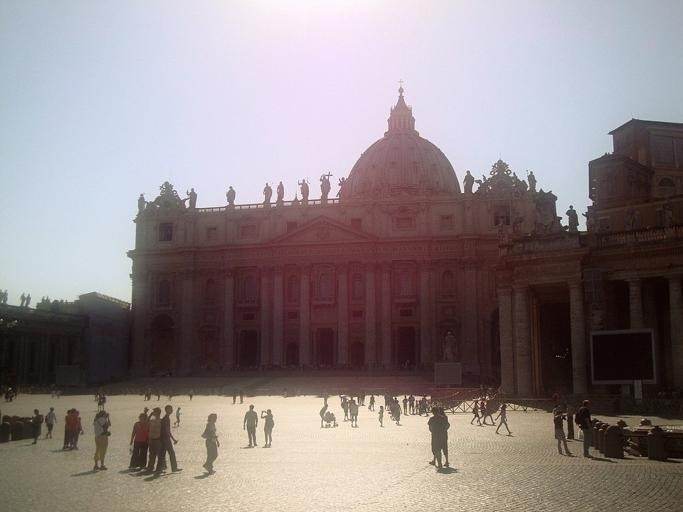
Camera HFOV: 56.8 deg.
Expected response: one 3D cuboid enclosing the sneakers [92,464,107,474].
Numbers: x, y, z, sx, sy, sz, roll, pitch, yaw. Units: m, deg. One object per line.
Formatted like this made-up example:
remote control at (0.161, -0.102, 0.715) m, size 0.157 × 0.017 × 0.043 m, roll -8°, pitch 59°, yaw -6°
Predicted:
sneakers at (-8.109, 7.179, 21.211) m, size 0.462 × 0.219 × 0.224 m, roll -1°, pitch -2°, yaw -17°
